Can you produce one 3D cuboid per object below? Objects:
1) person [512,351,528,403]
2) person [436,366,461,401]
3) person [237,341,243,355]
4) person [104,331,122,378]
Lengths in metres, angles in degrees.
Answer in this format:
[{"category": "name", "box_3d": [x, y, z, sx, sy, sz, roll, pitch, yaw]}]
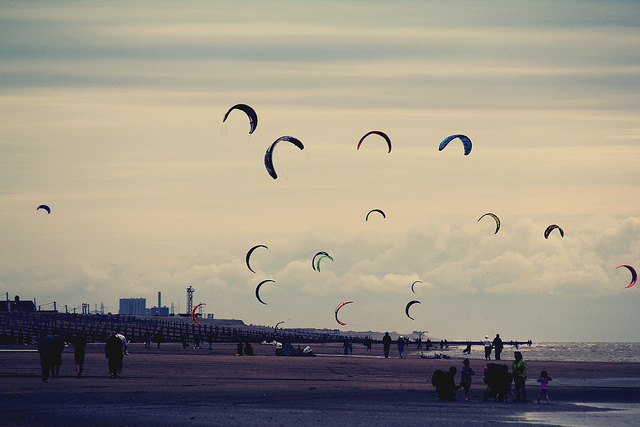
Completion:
[{"category": "person", "box_3d": [9.342, 7.468, 72.523, 0.679, 2.360, 1.577, 3, -4, 8]}, {"category": "person", "box_3d": [5.934, 7.758, 72.128, 1.116, 1.538, 0.809, 7, -5, -38]}, {"category": "person", "box_3d": [-5.113, 8.358, 98.304, 0.309, 0.658, 0.970, 4, -4, -2]}, {"category": "person", "box_3d": [-10.126, 6.727, 75.405, 0.797, 2.163, 0.697, 4, -4, -7]}]
